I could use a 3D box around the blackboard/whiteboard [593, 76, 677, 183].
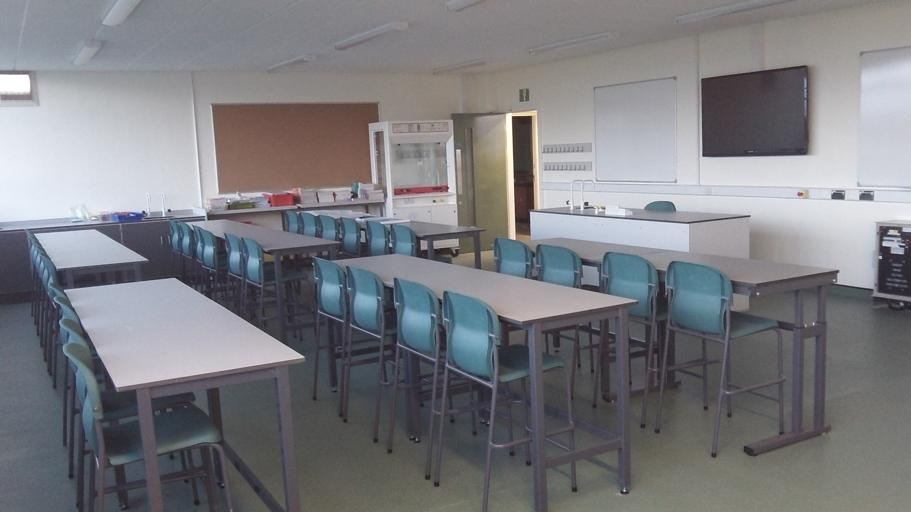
[{"bbox_3d":[3.211,-2.237,10.199,2.110,2.106,0.111,5,11,44],"label":"blackboard/whiteboard"}]

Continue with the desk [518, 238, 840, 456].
[{"bbox_3d":[2.017,0.913,5.407,0.693,0.833,1.953,-8,10,-39],"label":"desk"}]

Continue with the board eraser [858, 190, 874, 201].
[{"bbox_3d":[5.659,-0.821,8.016,0.132,0.117,0.183,-10,11,-34],"label":"board eraser"}]
